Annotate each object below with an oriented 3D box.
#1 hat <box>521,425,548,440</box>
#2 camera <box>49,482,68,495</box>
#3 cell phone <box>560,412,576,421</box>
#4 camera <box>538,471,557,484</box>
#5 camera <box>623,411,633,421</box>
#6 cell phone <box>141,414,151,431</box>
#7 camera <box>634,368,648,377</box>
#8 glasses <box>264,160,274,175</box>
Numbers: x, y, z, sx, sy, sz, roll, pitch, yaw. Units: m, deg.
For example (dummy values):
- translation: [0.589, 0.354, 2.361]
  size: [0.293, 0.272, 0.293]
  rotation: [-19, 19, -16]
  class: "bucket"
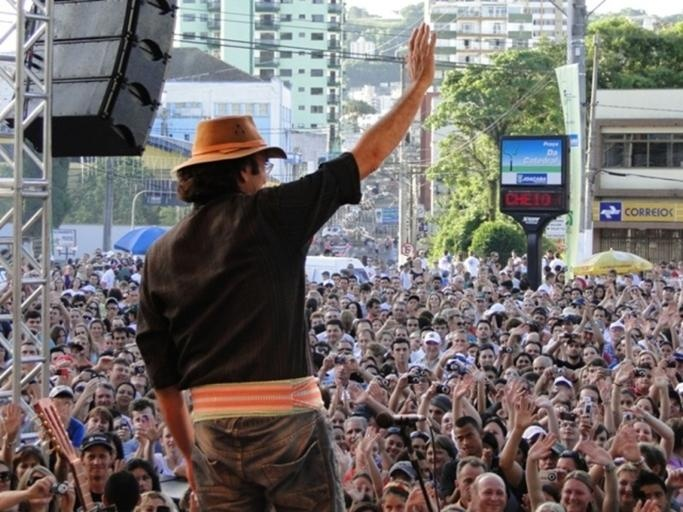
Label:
- translation: [3.551, 3.283, 34.090]
  size: [0.346, 0.261, 0.578]
  rotation: [-8, -9, 23]
  class: "hat"
- translation: [-4.862, 4.084, 32.025]
  size: [0.198, 0.105, 0.276]
  rotation: [1, -1, 31]
  class: "camera"
- translation: [4.283, 3.066, 34.980]
  size: [0.229, 0.064, 0.177]
  rotation: [3, 6, -10]
  class: "cell phone"
- translation: [3.738, 4.026, 33.402]
  size: [0.330, 0.227, 0.187]
  rotation: [-7, 0, 26]
  class: "camera"
- translation: [5.293, 2.994, 34.063]
  size: [0.183, 0.192, 0.140]
  rotation: [0, -6, -1]
  class: "camera"
- translation: [-3.632, 3.118, 34.246]
  size: [0.167, 0.246, 0.065]
  rotation: [-1, 1, 16]
  class: "cell phone"
- translation: [5.767, 2.248, 35.440]
  size: [0.235, 0.162, 0.436]
  rotation: [-7, 0, 18]
  class: "camera"
- translation: [-1.220, -1.516, 30.809]
  size: [0.200, 0.218, 0.097]
  rotation: [2, 2, 22]
  class: "glasses"
